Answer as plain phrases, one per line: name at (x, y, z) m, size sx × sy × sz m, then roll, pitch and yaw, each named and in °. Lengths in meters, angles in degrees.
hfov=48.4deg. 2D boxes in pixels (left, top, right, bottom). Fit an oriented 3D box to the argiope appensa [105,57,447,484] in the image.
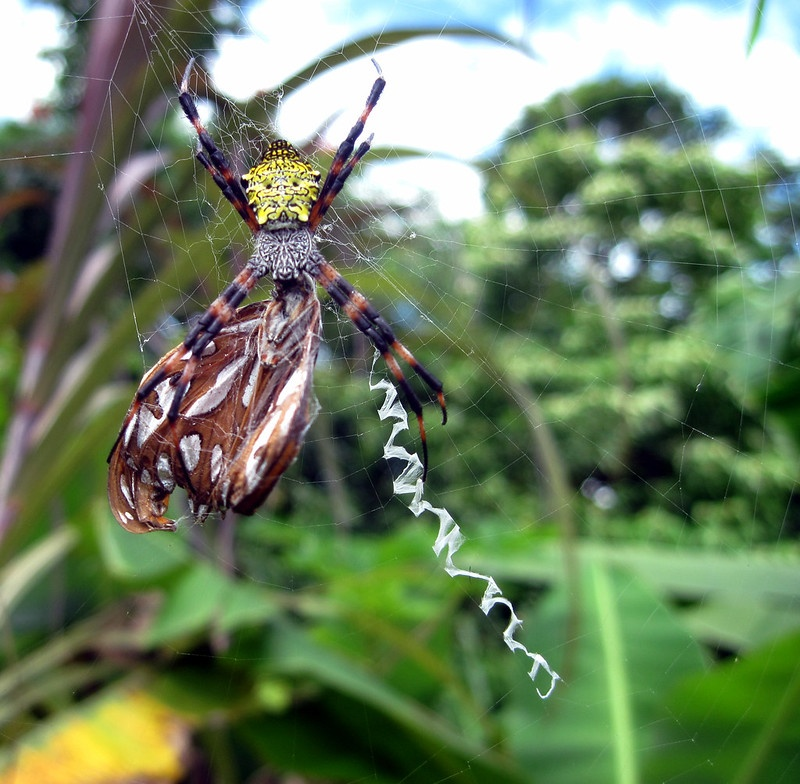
argiope appensa at (-0.436, -0.385, 3.489) m, size 1.201 × 1.461 × 0.483 m, roll 0°, pitch -10°, yaw -10°
